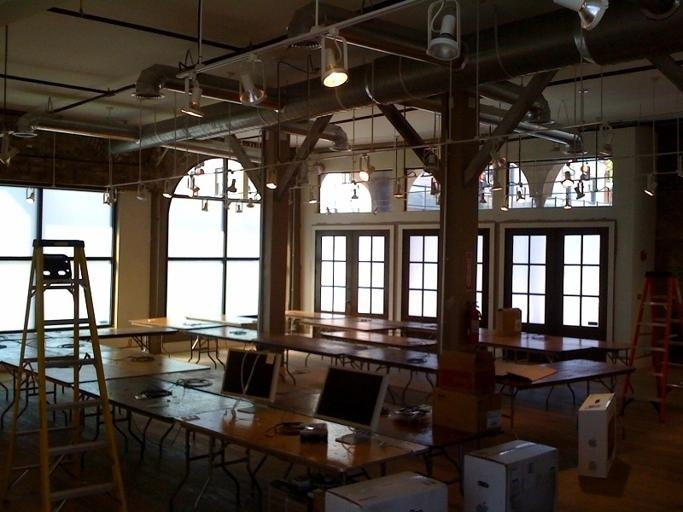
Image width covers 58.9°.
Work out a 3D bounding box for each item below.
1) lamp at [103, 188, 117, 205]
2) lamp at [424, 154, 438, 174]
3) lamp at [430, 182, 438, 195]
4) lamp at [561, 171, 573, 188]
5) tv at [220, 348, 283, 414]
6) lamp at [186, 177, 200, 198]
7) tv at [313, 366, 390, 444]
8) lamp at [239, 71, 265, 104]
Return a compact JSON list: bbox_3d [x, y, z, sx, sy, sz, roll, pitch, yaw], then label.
[{"bbox_3d":[-4.518,-1.198,11.935,0.257,0.308,1.159,1,0,-21],"label":"lamp"},{"bbox_3d":[1.190,-1.233,7.969,0.149,0.279,0.382,1,0,7],"label":"lamp"},{"bbox_3d":[1.681,-1.230,10.910,0.120,0.257,0.225,1,0,8],"label":"lamp"},{"bbox_3d":[3.509,-1.220,9.437,0.135,0.243,0.420,1,0,20],"label":"lamp"},{"bbox_3d":[-0.850,1.107,5.702,0.691,0.493,0.180,1,0,40],"label":"tv"},{"bbox_3d":[-2.628,-1.279,10.841,0.150,0.364,0.898,1,0,-13],"label":"lamp"},{"bbox_3d":[0.088,1.290,5.138,0.628,0.597,0.323,2,-3,38],"label":"tv"},{"bbox_3d":[-0.807,-1.539,5.495,0.202,0.290,0.472,1,0,-10],"label":"lamp"}]
